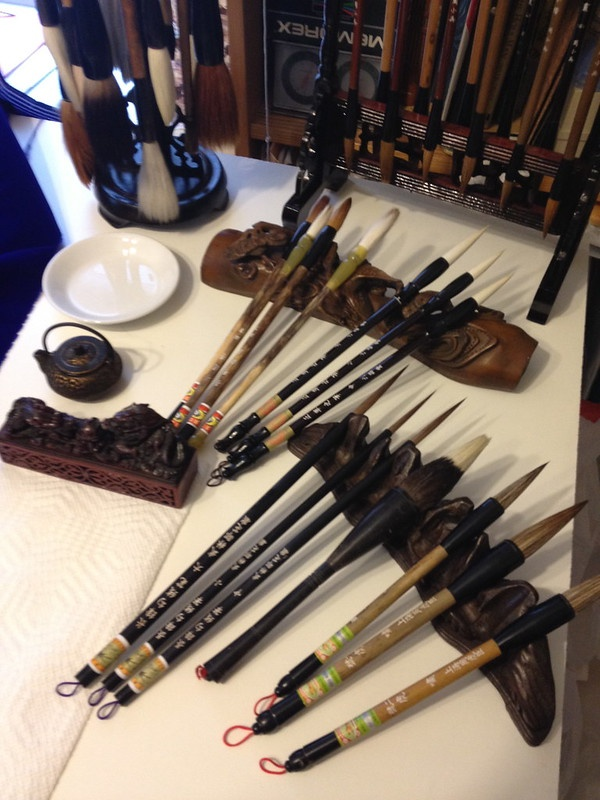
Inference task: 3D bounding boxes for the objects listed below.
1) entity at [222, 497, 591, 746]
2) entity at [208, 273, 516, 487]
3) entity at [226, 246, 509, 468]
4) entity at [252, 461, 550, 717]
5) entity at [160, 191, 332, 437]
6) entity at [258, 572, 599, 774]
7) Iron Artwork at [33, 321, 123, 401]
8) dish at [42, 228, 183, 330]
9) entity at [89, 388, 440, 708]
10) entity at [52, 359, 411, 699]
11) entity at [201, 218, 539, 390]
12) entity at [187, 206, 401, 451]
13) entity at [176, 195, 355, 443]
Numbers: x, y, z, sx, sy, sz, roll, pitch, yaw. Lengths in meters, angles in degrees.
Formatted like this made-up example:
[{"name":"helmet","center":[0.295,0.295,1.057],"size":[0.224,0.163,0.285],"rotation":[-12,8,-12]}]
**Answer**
[{"name":"entity","center":[0.100,0.233,0.700],"size":[0.522,0.059,0.075],"rotation":[-27,33,-2]},{"name":"entity","center":[0.089,-0.020,0.903],"size":[0.499,0.047,0.038],"rotation":[-31,44,-4]},{"name":"entity","center":[0.088,-0.052,0.923],"size":[0.482,0.075,0.036],"rotation":[-36,27,-4]},{"name":"entity","center":[0.104,0.209,0.709],"size":[0.414,0.042,0.029],"rotation":[-33,31,-4]},{"name":"entity","center":[-0.082,-0.116,0.982],"size":[0.051,0.034,0.496],"rotation":[37,77,-4]},{"name":"entity","center":[0.114,0.275,0.679],"size":[0.524,0.053,0.049],"rotation":[-24,5,3]},{"name":"Iron Artwork","center":[-0.293,-0.059,0.879],"size":[0.109,0.098,0.094],"rotation":[1,47,-1]},{"name":"dish","center":[-0.279,-0.187,1.038],"size":[0.188,0.031,0.169],"rotation":[-11,53,-13]},{"name":"entity","center":[-0.043,0.176,0.751],"size":[0.508,0.071,0.041],"rotation":[-36,26,-13]},{"name":"entity","center":[-0.039,0.179,0.746],"size":[0.540,0.079,0.042],"rotation":[-40,46,9]},{"name":"entity","center":[0.099,-0.132,0.983],"size":[0.330,0.083,0.105],"rotation":[25,41,5]},{"name":"entity","center":[-0.009,-0.091,0.956],"size":[0.049,0.038,0.510],"rotation":[43,84,0]},{"name":"entity","center":[-0.050,-0.106,0.971],"size":[0.071,0.043,0.505],"rotation":[41,81,-5]}]
